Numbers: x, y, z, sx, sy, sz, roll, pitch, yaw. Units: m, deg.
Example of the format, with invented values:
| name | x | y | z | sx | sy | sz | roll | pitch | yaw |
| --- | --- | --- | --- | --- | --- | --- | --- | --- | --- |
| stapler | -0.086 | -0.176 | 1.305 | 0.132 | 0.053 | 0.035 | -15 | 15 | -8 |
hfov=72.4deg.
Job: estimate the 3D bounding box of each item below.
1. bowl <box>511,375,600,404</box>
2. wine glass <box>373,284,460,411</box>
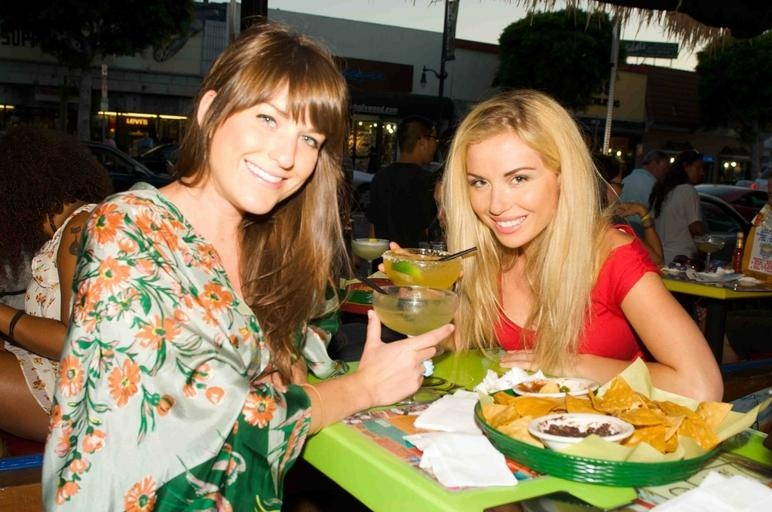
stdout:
| name | x | y | z | sx | sy | sz | roll | pitch | yaw |
| --- | --- | --- | --- | --- | --- | --- | --- | --- | --- |
| bowl | 0.537 | 0.405 | 1.721 | 0.248 | 0.075 | 0.177 | -4 | 3 | -39 |
| wine glass | 0.064 | 0.325 | 1.990 | 0.286 | 0.393 | 0.329 | 0 | 9 | -25 |
